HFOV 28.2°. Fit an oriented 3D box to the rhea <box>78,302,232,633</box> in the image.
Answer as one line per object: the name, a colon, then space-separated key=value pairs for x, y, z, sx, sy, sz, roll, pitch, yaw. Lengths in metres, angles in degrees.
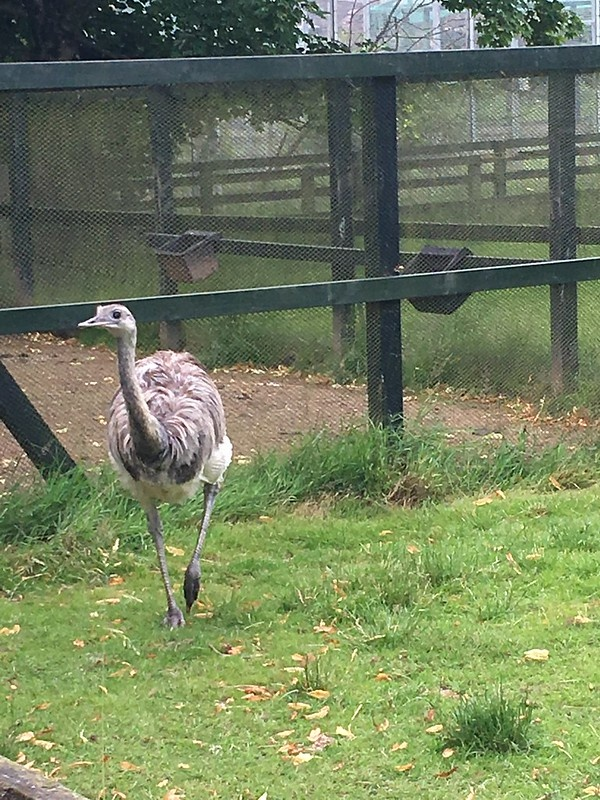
rhea: x=-0.633 y=0.266 z=5.715 sx=0.560 sy=1.526 sz=1.068 roll=-5 pitch=11 yaw=0
